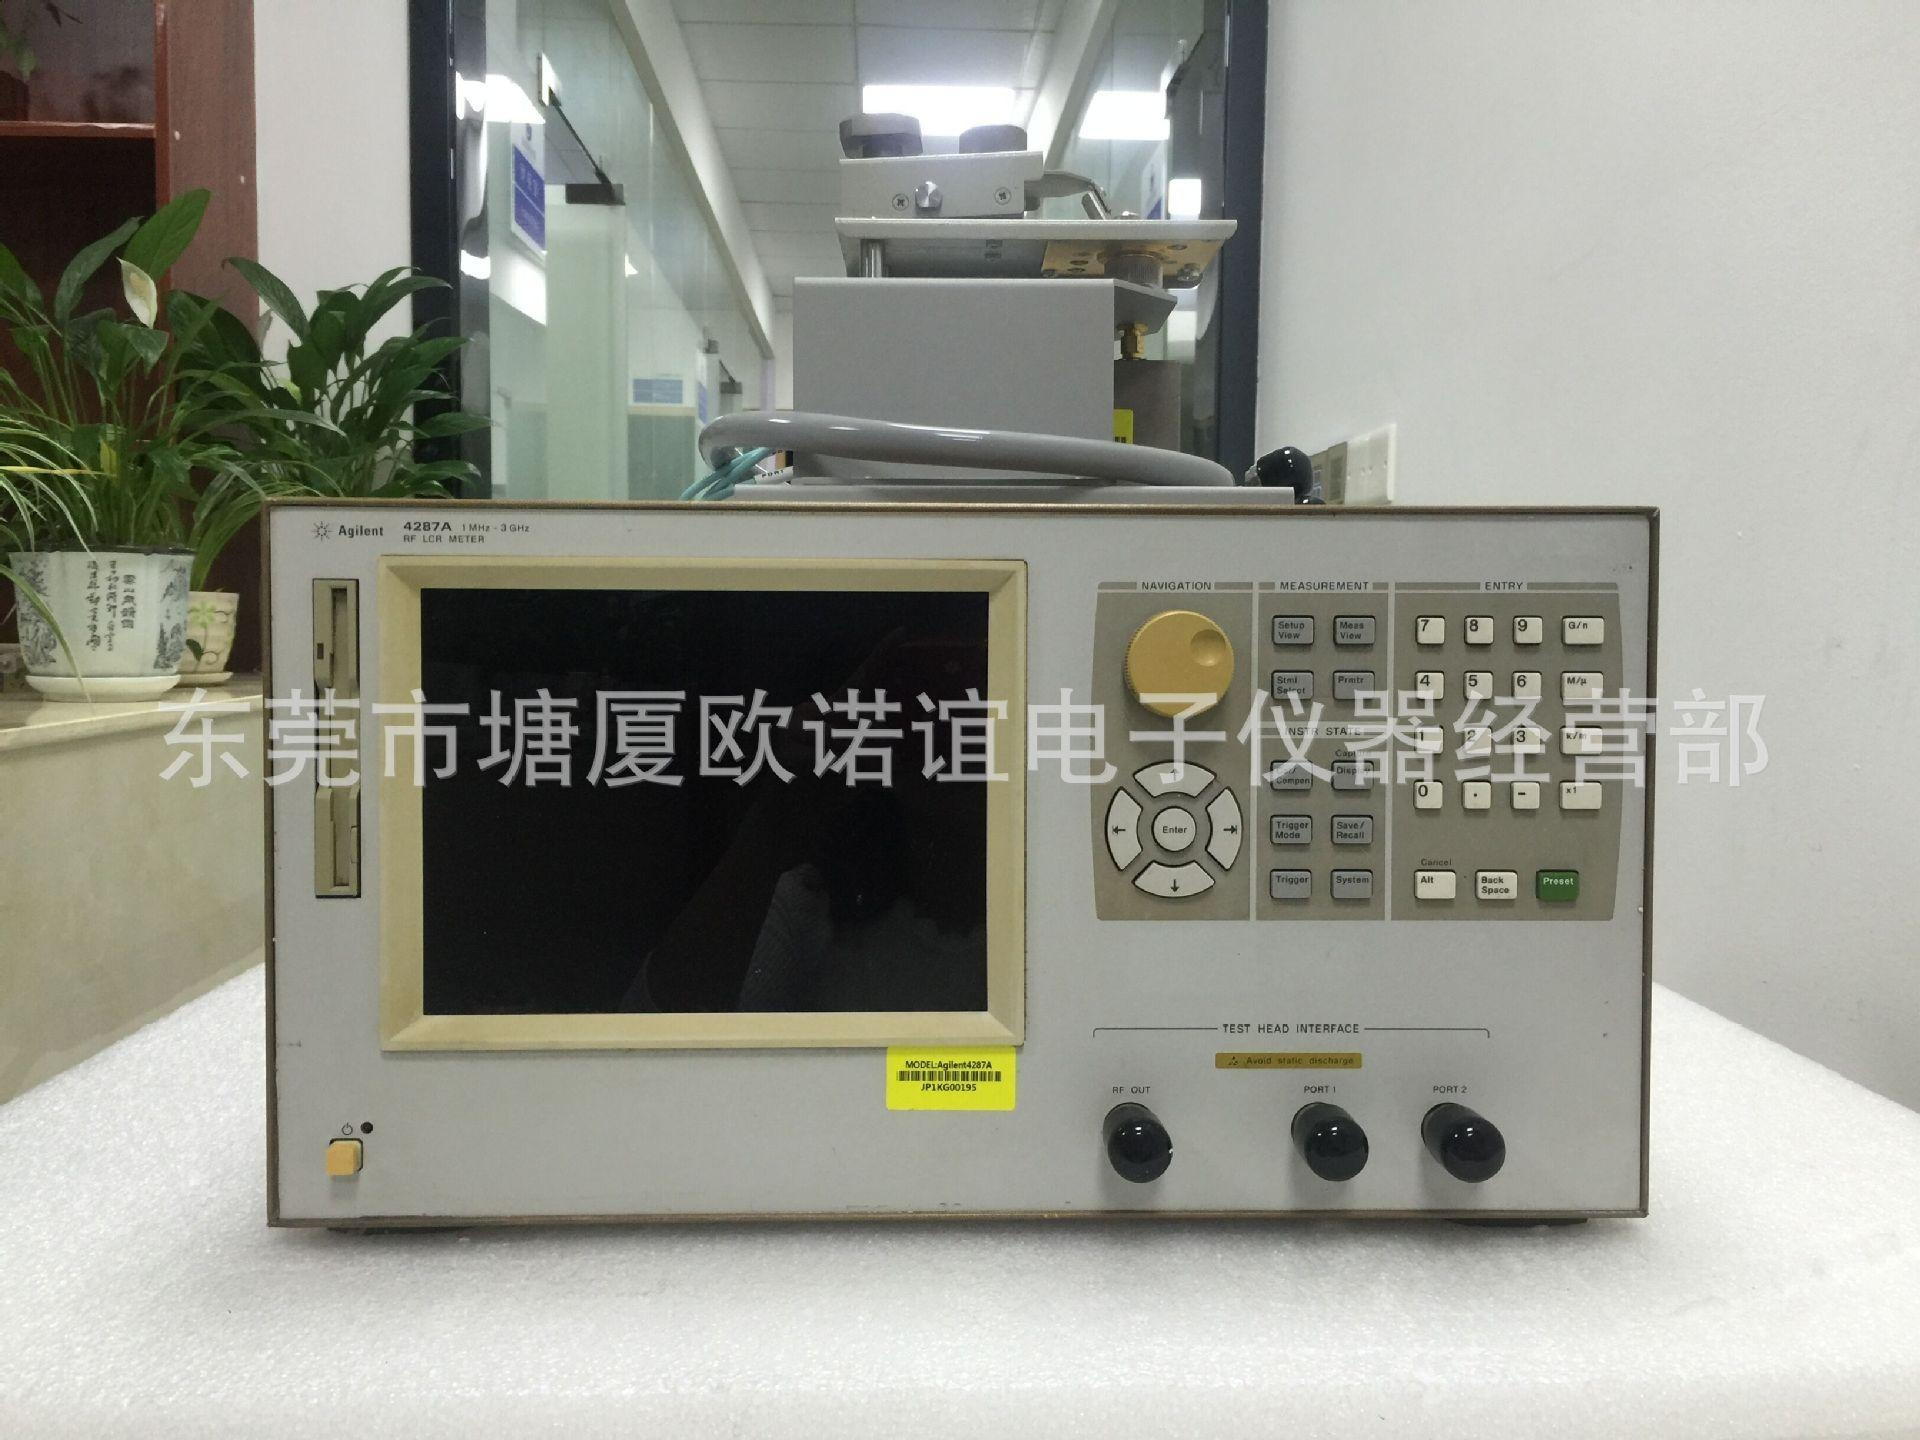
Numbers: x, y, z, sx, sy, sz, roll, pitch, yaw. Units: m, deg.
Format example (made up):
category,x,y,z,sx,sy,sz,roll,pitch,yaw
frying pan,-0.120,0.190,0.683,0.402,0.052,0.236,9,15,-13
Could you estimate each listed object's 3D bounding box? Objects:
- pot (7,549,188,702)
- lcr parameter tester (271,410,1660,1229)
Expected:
category,x,y,z,sx,sy,sz,roll,pitch,yaw
pot,-0.905,-0.099,1.868,0.170,0.139,0.147,0,2,20
lcr parameter tester,-0.051,-0.003,1.735,1.037,0.547,0.701,2,10,-10
